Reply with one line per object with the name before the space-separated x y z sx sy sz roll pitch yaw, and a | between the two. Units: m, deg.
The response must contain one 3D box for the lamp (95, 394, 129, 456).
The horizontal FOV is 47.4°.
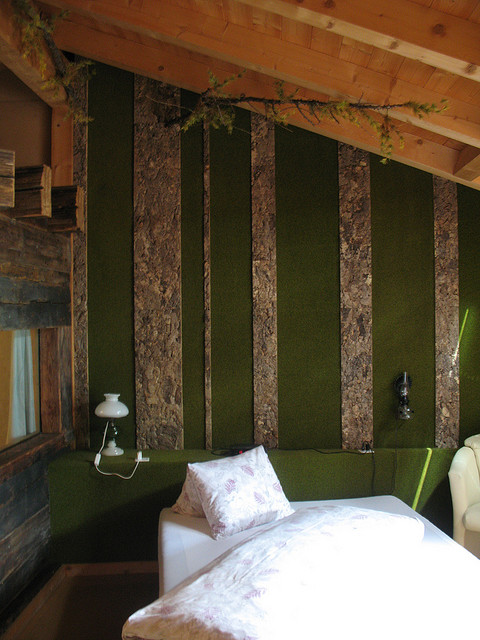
lamp | -0.818 0.665 3.491 0.214 0.419 0.346 10 5 -10
